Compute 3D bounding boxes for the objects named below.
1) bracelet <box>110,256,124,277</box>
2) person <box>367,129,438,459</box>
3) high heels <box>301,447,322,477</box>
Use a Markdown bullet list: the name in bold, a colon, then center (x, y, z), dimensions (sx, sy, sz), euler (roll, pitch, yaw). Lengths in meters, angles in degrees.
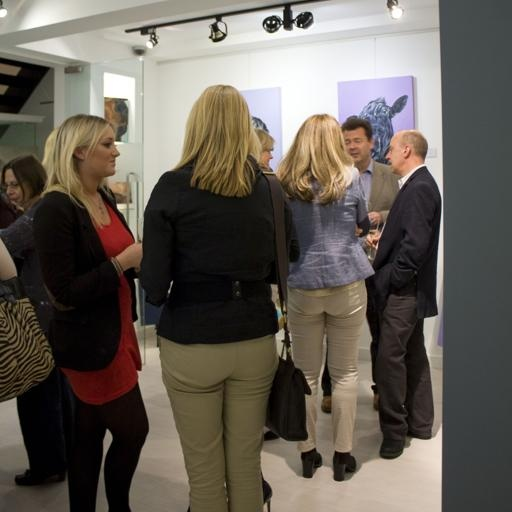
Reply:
- **bracelet**: center (-0.508, 0.054, 1.650), dimensions (0.019, 0.063, 0.049), euler (-18, 15, -24)
- **person**: center (0.930, 0.223, 2.790), dimensions (0.401, 1.869, 0.467), euler (1, 2, 22)
- **high heels**: center (0.319, 1.076, 2.490), dimensions (0.062, 0.156, 0.196), euler (0, 11, 18)
